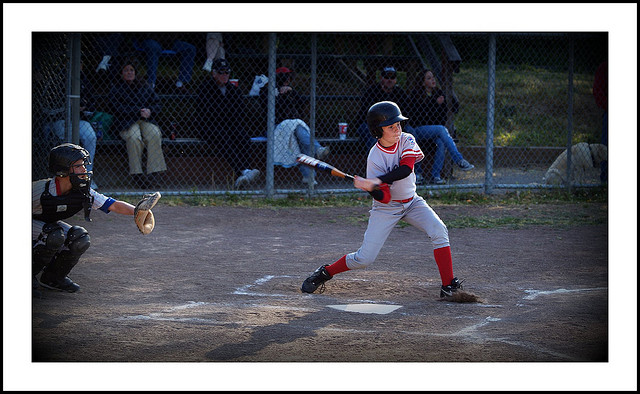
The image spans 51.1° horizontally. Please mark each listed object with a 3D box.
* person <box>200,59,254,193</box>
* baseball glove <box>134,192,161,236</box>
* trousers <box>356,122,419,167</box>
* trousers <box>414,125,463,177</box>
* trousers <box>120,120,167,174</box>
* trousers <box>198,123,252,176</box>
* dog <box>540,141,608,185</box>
[{"bbox_3d":[-1.634,-1.227,11.239,0.846,2.153,0.642,3,9,33],"label":"person"},{"bbox_3d":[-1.836,0.165,7.087,0.277,0.454,0.270,-2,8,0],"label":"baseball glove"},{"bbox_3d":[0.990,-0.909,11.532,1.130,0.777,0.732,2,8,27],"label":"trousers"},{"bbox_3d":[2.013,-0.886,11.576,0.720,0.784,0.627,-16,1,6],"label":"trousers"},{"bbox_3d":[-2.898,-0.819,10.837,0.680,0.870,0.208,-4,8,-17],"label":"trousers"},{"bbox_3d":[-1.586,-0.805,11.206,0.811,0.878,0.262,-2,8,-6],"label":"trousers"},{"bbox_3d":[4.376,-0.595,11.575,1.028,0.700,0.552,1,8,17],"label":"dog"}]
